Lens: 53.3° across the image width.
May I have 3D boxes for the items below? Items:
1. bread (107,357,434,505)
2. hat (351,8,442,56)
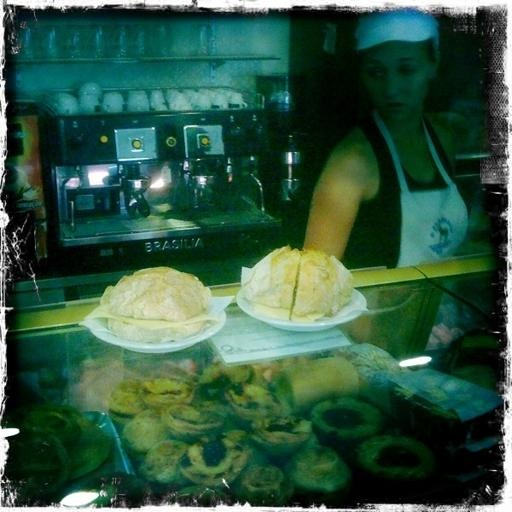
[{"bbox_3d":[0.006,0.260,0.780,0.434,0.107,0.277,-6,10,-14],"label":"bread"},{"bbox_3d":[0.661,-1.046,2.376,0.335,0.102,0.381,2,16,13],"label":"hat"}]
